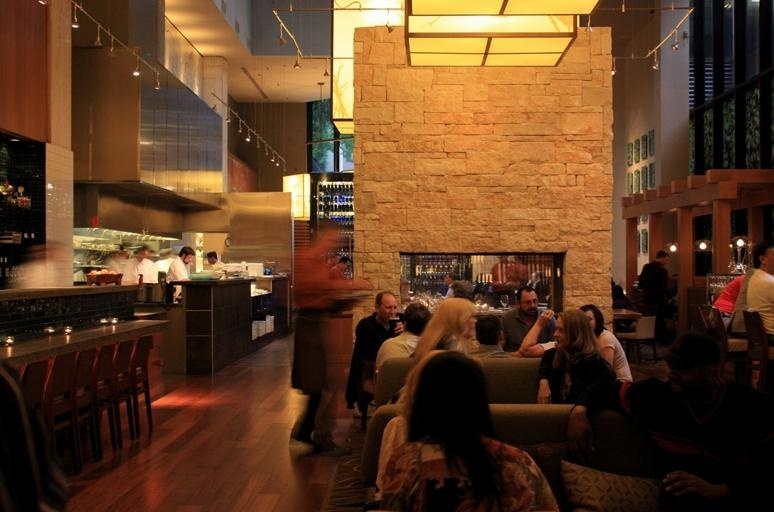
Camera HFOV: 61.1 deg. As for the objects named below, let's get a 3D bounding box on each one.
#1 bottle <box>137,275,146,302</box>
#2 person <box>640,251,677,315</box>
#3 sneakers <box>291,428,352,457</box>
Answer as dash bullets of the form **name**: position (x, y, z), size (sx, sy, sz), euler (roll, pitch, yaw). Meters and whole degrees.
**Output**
- **bottle**: position (-4.149, 0.546, 11.014), size (0.118, 0.430, 0.411), euler (-3, 5, -22)
- **person**: position (5.576, 0.751, 13.750), size (0.412, 1.669, 0.687), euler (-9, 20, -30)
- **sneakers**: position (-0.730, 2.032, 7.133), size (0.483, 0.169, 0.265), euler (-1, 0, -3)
